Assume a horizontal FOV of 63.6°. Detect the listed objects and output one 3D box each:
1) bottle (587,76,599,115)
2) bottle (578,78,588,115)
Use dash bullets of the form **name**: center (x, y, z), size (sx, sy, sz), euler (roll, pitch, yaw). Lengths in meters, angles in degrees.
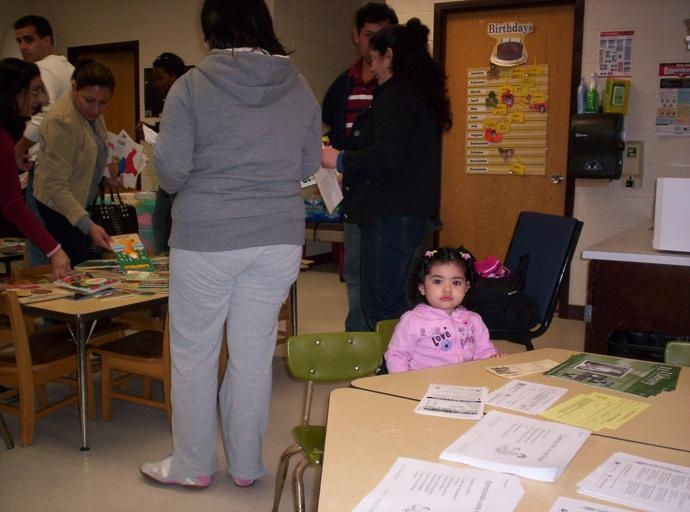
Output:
- **bottle**: center (2.020, -1.323, 4.499), size (0.103, 0.302, 0.194), euler (4, 13, 23)
- **bottle**: center (1.935, -1.306, 4.493), size (0.080, 0.292, 0.243), euler (3, 13, 22)
